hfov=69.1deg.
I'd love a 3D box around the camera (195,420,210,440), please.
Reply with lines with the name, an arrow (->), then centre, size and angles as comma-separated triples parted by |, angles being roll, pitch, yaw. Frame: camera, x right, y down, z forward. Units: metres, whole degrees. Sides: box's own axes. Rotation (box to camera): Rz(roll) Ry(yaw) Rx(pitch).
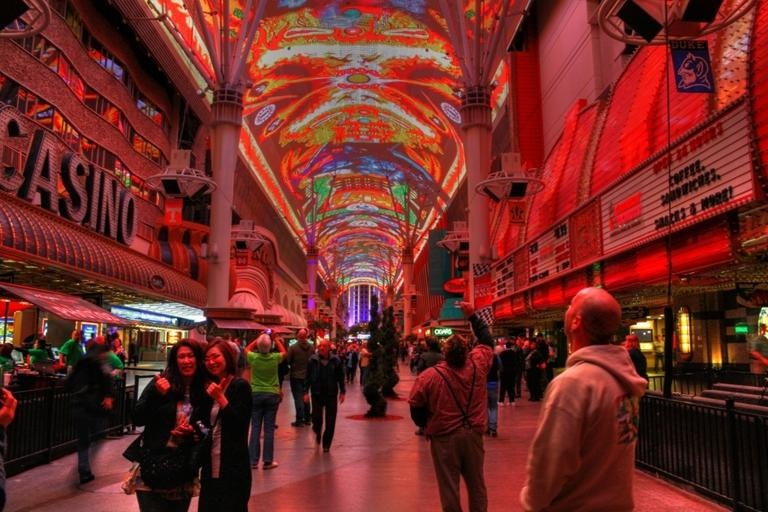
camera -> -1.875, 1.798, 5.781 | 0.144, 0.195, 0.082 | -7, -35, -41
